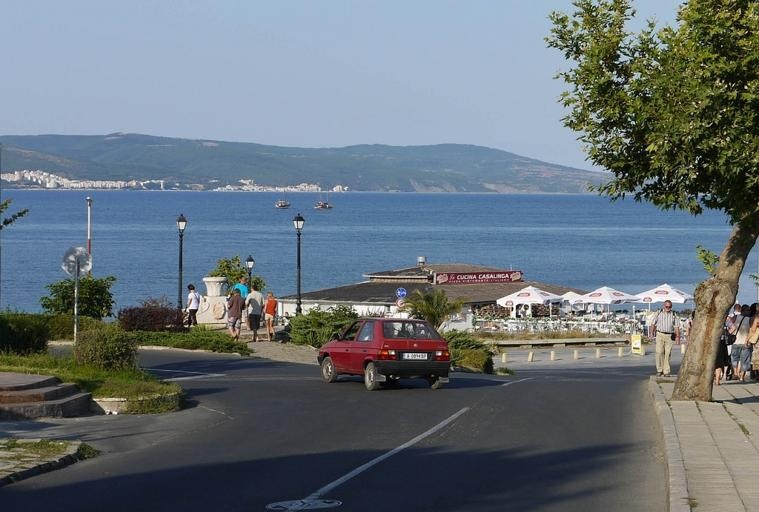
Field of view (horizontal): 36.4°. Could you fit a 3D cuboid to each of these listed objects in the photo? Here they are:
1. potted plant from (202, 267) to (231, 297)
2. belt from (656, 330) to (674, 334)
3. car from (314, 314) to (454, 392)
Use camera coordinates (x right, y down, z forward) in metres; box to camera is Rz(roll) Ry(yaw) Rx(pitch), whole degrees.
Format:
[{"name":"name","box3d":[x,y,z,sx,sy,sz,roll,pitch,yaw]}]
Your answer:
[{"name":"potted plant","box3d":[-6.810,1.122,47.310,1.813,1.204,1.760,0,-3,-7]},{"name":"belt","box3d":[7.971,2.059,32.102,0.638,0.143,0.300,3,-5,-31]},{"name":"car","box3d":[-0.092,2.423,30.115,1.816,1.179,2.835,0,3,-28]}]
